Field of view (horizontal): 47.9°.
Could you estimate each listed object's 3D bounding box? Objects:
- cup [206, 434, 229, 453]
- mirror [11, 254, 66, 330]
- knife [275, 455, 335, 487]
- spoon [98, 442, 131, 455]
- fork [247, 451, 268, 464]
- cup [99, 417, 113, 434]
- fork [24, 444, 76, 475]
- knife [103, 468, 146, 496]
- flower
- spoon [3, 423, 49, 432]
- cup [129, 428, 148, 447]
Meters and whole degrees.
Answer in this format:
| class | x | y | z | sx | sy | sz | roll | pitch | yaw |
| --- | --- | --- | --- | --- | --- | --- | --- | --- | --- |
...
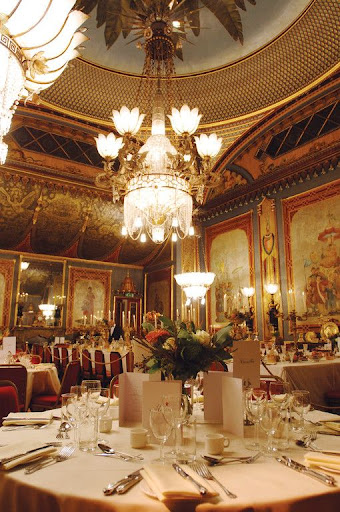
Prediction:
| class | x | y | z | sx | sy | sz | roll | pitch | yaw |
| --- | --- | --- | --- | --- | --- | --- | --- | --- | --- |
| cup | 0.154 | 0.612 | 1.258 | 0.081 | 0.056 | 0.051 | 8 | -19 | -22 |
| mirror | -4.101 | 1.172 | 11.735 | 1.860 | 3.047 | 0.119 | 14 | -32 | -34 |
| knife | 0.377 | 0.581 | 1.058 | 0.041 | 0.019 | 0.161 | -5 | -5 | -23 |
| spoon | -0.190 | 0.657 | 1.303 | 0.026 | 0.023 | 0.125 | 22 | -17 | -36 |
| fork | 0.262 | 0.618 | 1.188 | 0.026 | 0.020 | 0.101 | -10 | -12 | 24 |
| cup | -0.260 | 0.692 | 1.559 | 0.055 | 0.042 | 0.042 | 1 | -10 | -6 |
| fork | -0.361 | 0.618 | 1.174 | 0.039 | 0.024 | 0.166 | 16 | -7 | 16 |
| knife | -0.111 | 0.559 | 0.968 | 0.033 | 0.011 | 0.120 | 11 | -3 | 19 |
| flower | 0.059 | 0.414 | 1.695 | 0.361 | 0.274 | 0.357 | -4 | -24 | -42 |
| spoon | -0.616 | 0.739 | 1.647 | 0.149 | 0.021 | 0.025 | -1 | -54 | -1 |
| cup | -0.104 | 0.634 | 1.351 | 0.065 | 0.050 | 0.050 | -3 | -9 | 31 |
